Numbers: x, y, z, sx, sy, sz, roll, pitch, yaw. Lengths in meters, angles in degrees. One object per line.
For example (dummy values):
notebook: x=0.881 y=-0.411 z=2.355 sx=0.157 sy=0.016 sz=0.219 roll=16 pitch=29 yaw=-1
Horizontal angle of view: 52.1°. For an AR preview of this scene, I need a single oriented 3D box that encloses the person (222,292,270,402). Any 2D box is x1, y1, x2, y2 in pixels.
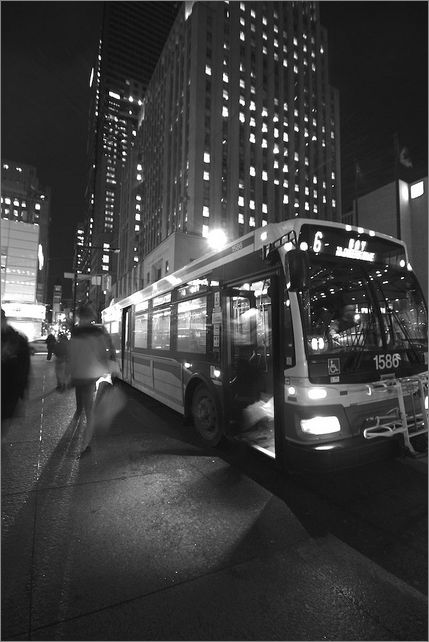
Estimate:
person: x=0.583 y=0.659 z=6.280 sx=0.378 sy=0.957 sz=1.597 roll=3 pitch=-6 yaw=18
